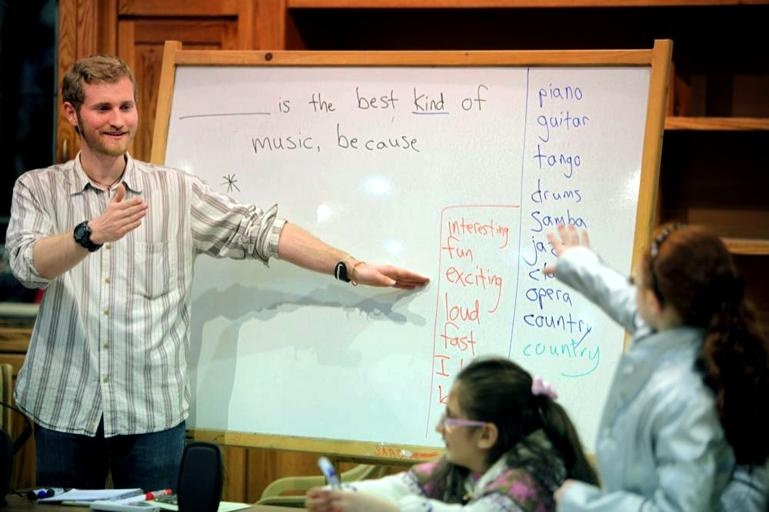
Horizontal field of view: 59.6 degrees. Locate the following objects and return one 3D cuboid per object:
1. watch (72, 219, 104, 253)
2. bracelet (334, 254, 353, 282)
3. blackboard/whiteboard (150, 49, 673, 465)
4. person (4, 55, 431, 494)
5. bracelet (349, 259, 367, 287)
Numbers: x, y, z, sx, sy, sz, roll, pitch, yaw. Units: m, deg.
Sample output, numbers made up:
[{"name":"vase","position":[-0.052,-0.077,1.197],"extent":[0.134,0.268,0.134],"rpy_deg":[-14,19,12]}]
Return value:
[{"name":"watch","position":[-0.965,-0.058,2.161],"extent":[0.050,0.096,0.081],"rpy_deg":[-35,-27,-7]},{"name":"bracelet","position":[-0.145,0.053,2.406],"extent":[0.063,0.073,0.054],"rpy_deg":[-10,-1,28]},{"name":"blackboard/whiteboard","position":[0.129,0.027,2.338],"extent":[1.504,1.250,0.112],"rpy_deg":[2,-4,12]},{"name":"person","position":[-0.782,0.067,2.387],"extent":[0.992,1.515,0.437],"rpy_deg":[1,2,-28]},{"name":"bracelet","position":[-0.090,0.057,2.394],"extent":[0.062,0.083,0.030],"rpy_deg":[3,-7,-23]}]
